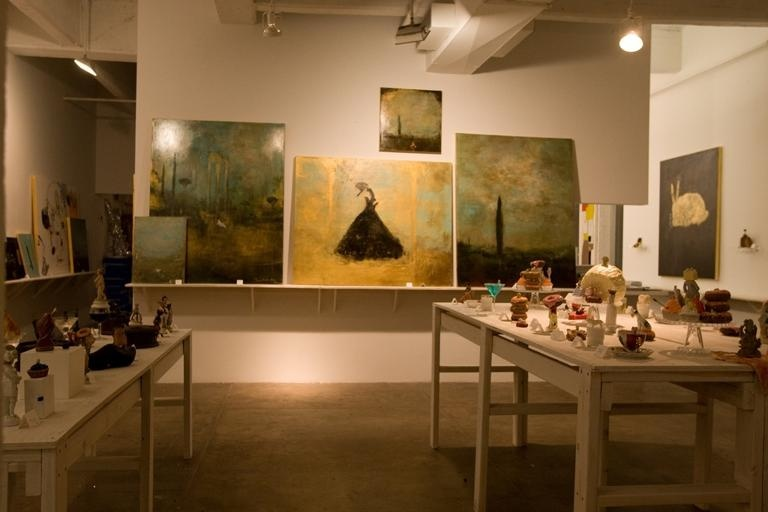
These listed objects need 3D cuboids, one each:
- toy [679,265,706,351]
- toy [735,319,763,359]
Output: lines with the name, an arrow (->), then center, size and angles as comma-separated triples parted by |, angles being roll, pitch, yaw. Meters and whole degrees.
toy -> 2.482, 0.426, 5.041 | 0.192, 0.623, 0.191 | -1, -1, 31
toy -> 2.657, 0.588, 4.537 | 0.145, 0.278, 0.296 | 3, 2, 31
